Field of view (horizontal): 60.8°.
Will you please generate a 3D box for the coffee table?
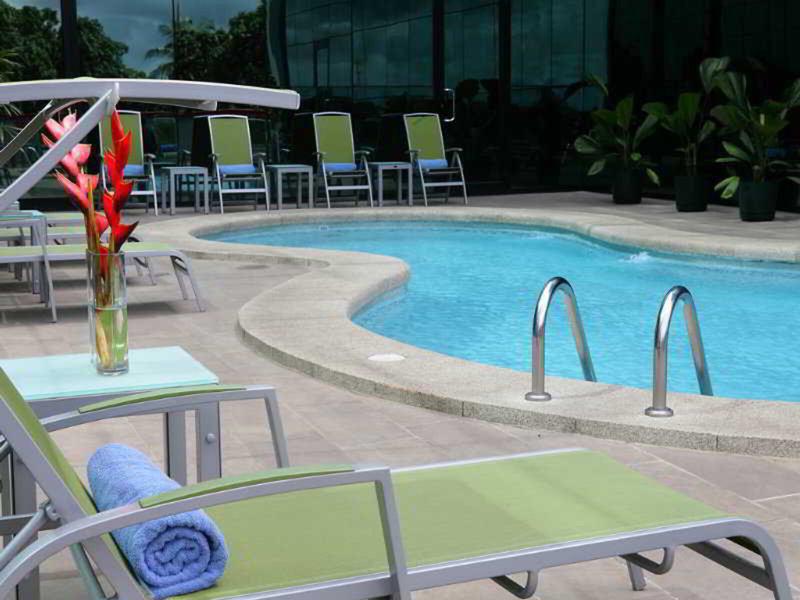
[{"bbox_3d":[-0.862,0.453,2.254,0.747,0.628,0.674,-3,12,-19],"label":"coffee table"}]
